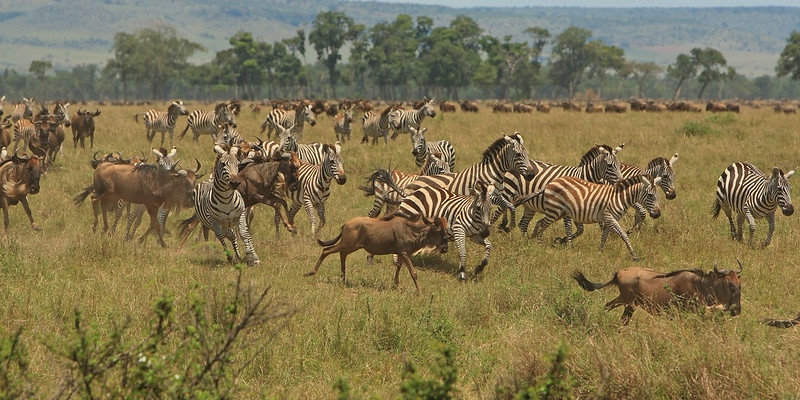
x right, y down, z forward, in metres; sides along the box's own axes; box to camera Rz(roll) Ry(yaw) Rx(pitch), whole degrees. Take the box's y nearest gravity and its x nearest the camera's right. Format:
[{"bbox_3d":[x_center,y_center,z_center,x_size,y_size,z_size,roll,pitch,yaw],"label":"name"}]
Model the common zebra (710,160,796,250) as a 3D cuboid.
[{"bbox_3d":[195.508,1.024,504.827,38.101,40.136,11.595,4,11,12],"label":"common zebra"}]
